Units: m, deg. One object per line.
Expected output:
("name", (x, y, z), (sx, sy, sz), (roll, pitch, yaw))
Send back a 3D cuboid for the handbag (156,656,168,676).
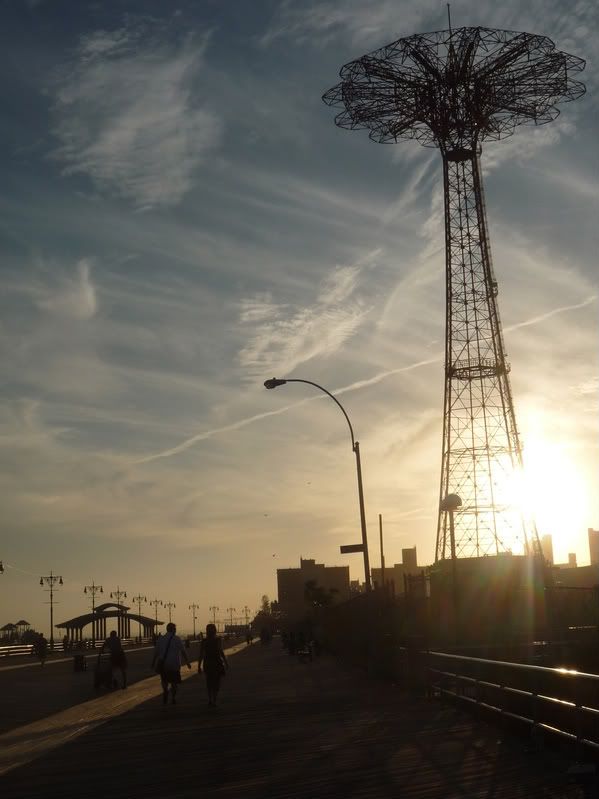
("handbag", (-2.774, 5.381, 16.744), (0.290, 0.490, 0.336), (0, -15, -3))
